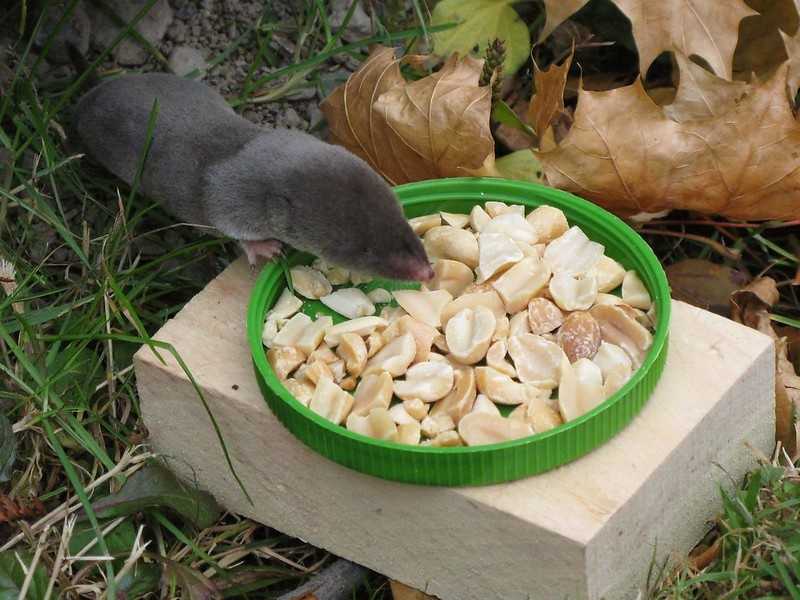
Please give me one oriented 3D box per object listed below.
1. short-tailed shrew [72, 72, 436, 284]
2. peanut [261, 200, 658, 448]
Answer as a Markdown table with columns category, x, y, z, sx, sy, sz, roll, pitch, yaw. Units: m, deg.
| category | x | y | z | sx | sy | sz | roll | pitch | yaw |
| --- | --- | --- | --- | --- | --- | --- | --- | --- | --- |
| short-tailed shrew | -0.765 | -0.580 | 3.613 | 1.958 | 0.684 | 0.641 | 30 | 43 | 15 |
| peanut | 0.215 | 0.153 | 3.217 | 1.381 | 0.796 | 1.053 | -7 | 27 | -6 |
